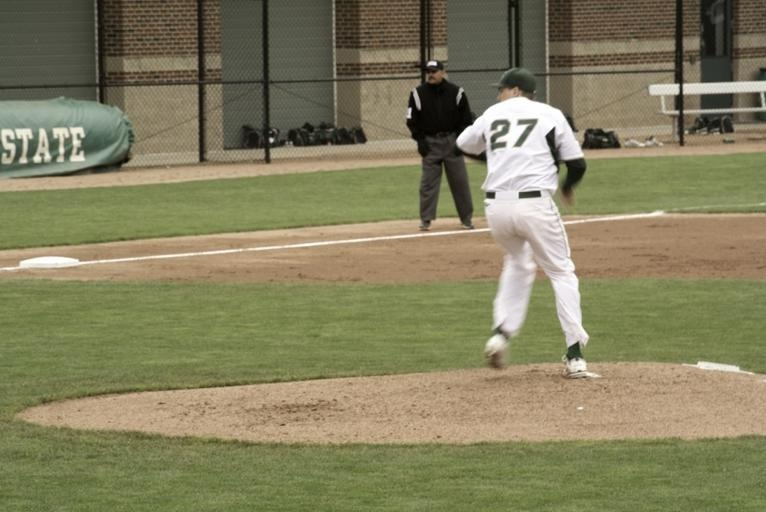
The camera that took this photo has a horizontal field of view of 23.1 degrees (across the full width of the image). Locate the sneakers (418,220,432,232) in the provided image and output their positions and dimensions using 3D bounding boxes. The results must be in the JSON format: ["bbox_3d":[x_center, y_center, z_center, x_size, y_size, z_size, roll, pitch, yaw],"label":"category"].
[{"bbox_3d":[0.738,-0.499,32.584,0.183,0.187,0.459,1,4,2],"label":"sneakers"}]

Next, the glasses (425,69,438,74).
[{"bbox_3d":[0.804,-3.169,32.277,0.161,0.073,0.560,-3,12,-9],"label":"glasses"}]

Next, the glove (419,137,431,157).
[{"bbox_3d":[0.662,-1.841,32.282,0.264,0.310,0.146,11,17,44],"label":"glove"}]

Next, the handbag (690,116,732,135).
[{"bbox_3d":[8.065,-3.141,45.794,0.797,0.301,0.559,1,6,7],"label":"handbag"}]

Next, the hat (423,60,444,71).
[{"bbox_3d":[0.892,-3.222,32.207,0.296,0.158,0.452,2,5,16],"label":"hat"}]

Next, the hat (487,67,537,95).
[{"bbox_3d":[1.831,-2.425,26.066,0.527,0.290,0.361,9,17,14],"label":"hat"}]
